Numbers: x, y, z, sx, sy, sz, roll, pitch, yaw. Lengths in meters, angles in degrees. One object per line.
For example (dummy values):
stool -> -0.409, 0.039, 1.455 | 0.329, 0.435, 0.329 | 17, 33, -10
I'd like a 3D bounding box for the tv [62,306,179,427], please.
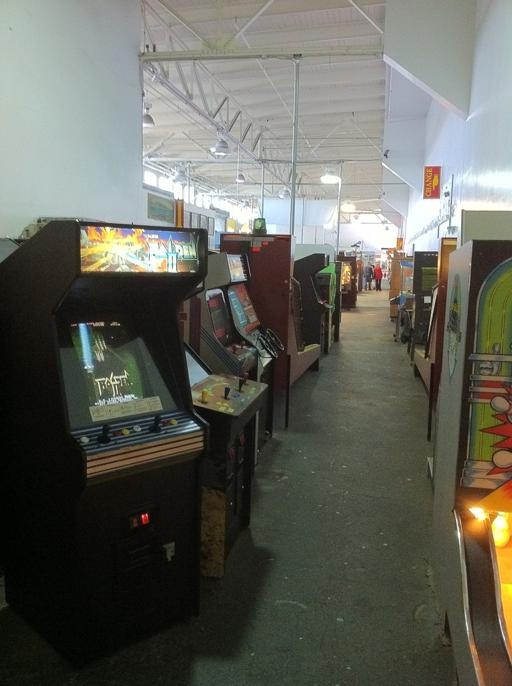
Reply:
tv -> -0.505, 0.089, 1.721 | 0.077, 0.341, 0.336 | -24, -16, 36
